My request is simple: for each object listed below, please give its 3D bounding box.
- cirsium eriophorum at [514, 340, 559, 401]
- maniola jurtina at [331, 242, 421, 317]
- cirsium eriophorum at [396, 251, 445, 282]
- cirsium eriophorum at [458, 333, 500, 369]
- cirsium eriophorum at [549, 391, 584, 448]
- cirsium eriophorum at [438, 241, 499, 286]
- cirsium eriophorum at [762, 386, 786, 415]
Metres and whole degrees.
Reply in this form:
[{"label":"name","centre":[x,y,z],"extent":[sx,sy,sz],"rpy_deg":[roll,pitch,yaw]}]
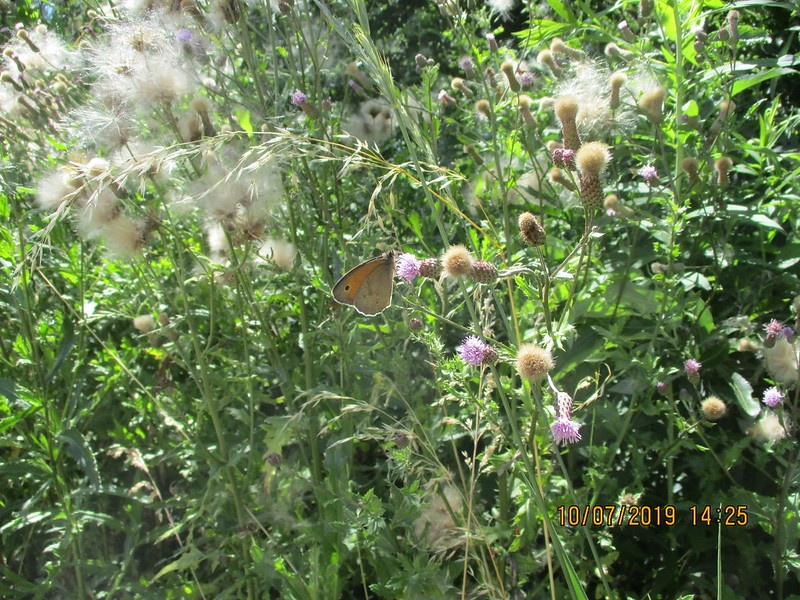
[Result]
[{"label":"cirsium eriophorum","centre":[0.408,0.221,2.614],"extent":[0.118,0.117,0.132],"rpy_deg":[-36,55,32]},{"label":"maniola jurtina","centre":[-0.116,-0.054,3.029],"extent":[0.274,0.252,0.088],"rpy_deg":[-32,48,-3]},{"label":"cirsium eriophorum","centre":[0.068,-0.104,2.813],"extent":[0.115,0.086,0.104],"rpy_deg":[0,56,28]},{"label":"cirsium eriophorum","centre":[0.263,0.176,2.737],"extent":[0.100,0.100,0.084],"rpy_deg":[3,36,47]},{"label":"cirsium eriophorum","centre":[0.531,0.349,2.609],"extent":[0.102,0.110,0.191],"rpy_deg":[2,48,-4]},{"label":"cirsium eriophorum","centre":[0.205,-0.093,2.610],"extent":[0.089,0.159,0.113],"rpy_deg":[-16,61,45]},{"label":"cirsium eriophorum","centre":[1.399,0.381,3.103],"extent":[0.076,0.084,0.075],"rpy_deg":[-33,12,-2]}]
